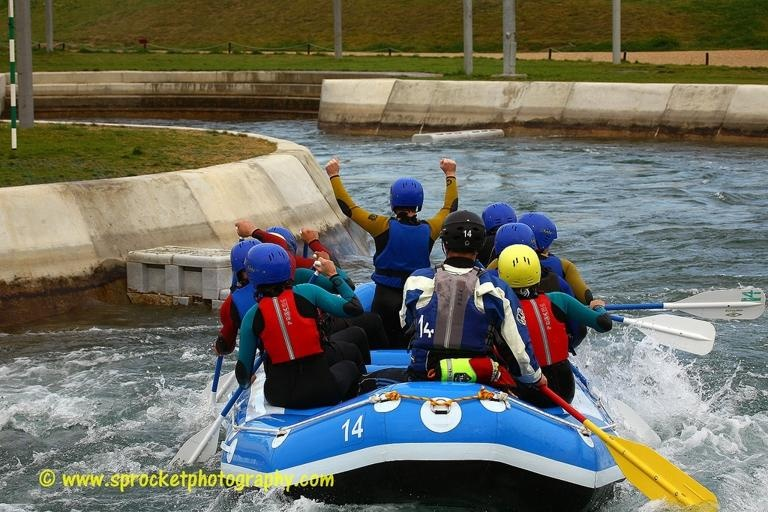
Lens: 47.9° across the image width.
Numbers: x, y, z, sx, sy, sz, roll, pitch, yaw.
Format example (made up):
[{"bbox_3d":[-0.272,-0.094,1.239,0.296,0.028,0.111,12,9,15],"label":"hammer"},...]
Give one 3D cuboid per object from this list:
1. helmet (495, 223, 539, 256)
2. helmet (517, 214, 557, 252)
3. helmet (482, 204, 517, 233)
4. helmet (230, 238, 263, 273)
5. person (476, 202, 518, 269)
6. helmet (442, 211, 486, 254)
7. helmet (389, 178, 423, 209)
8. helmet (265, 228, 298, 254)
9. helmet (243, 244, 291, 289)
[{"bbox_3d":[1.446,-0.172,8.847,0.471,0.332,0.309,-1,7,0],"label":"helmet"},{"bbox_3d":[1.926,-0.270,9.475,0.543,0.377,0.359,11,15,10],"label":"helmet"},{"bbox_3d":[1.426,-0.475,10.396,0.406,0.380,0.454,-3,18,-9],"label":"helmet"},{"bbox_3d":[-1.466,-0.028,9.228,0.383,0.347,0.387,3,38,-4],"label":"helmet"},{"bbox_3d":[1.443,-0.314,10.435,0.730,0.667,0.832,0,3,5],"label":"person"},{"bbox_3d":[0.830,-0.208,8.118,0.409,0.376,0.451,3,8,1],"label":"helmet"},{"bbox_3d":[0.325,-0.766,10.279,0.361,0.300,0.413,1,18,-5],"label":"helmet"},{"bbox_3d":[-1.257,-0.164,10.246,0.338,0.341,0.355,-3,19,7],"label":"helmet"},{"bbox_3d":[-1.116,0.086,8.337,0.395,0.324,0.478,-8,20,-28],"label":"helmet"}]
